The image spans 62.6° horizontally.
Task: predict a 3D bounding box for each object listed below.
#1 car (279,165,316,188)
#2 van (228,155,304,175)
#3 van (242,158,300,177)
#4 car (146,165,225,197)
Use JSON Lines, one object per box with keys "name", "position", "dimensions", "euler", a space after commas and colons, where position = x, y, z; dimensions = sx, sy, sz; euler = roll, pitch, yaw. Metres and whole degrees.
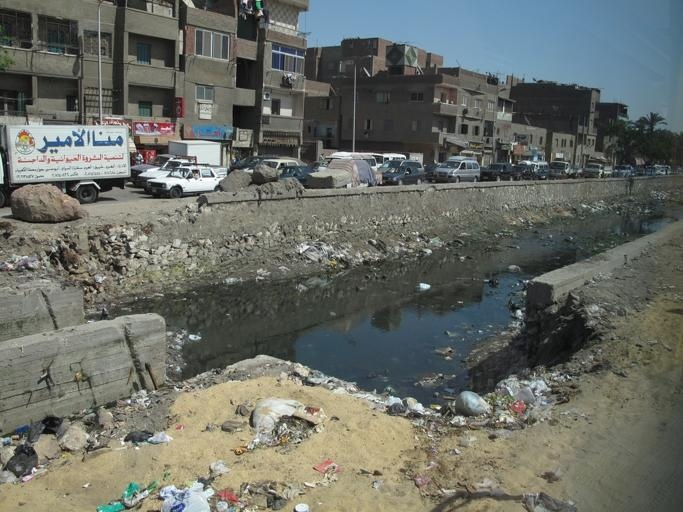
{"name": "car", "position": [-2.462, -4.210, 30.741], "dimensions": [2.029, 0.819, 1.285], "euler": [3, 11, -5]}
{"name": "van", "position": [-4.382, -5.262, 31.710], "dimensions": [3.668, 1.330, 2.155], "euler": [1, 11, -26]}
{"name": "van", "position": [-3.916, -5.192, 31.143], "dimensions": [3.358, 1.226, 1.535], "euler": [-2, 9, -40]}
{"name": "car", "position": [-7.694, -3.672, 27.640], "dimensions": [1.950, 1.601, 3.586], "euler": [8, 12, 43]}
